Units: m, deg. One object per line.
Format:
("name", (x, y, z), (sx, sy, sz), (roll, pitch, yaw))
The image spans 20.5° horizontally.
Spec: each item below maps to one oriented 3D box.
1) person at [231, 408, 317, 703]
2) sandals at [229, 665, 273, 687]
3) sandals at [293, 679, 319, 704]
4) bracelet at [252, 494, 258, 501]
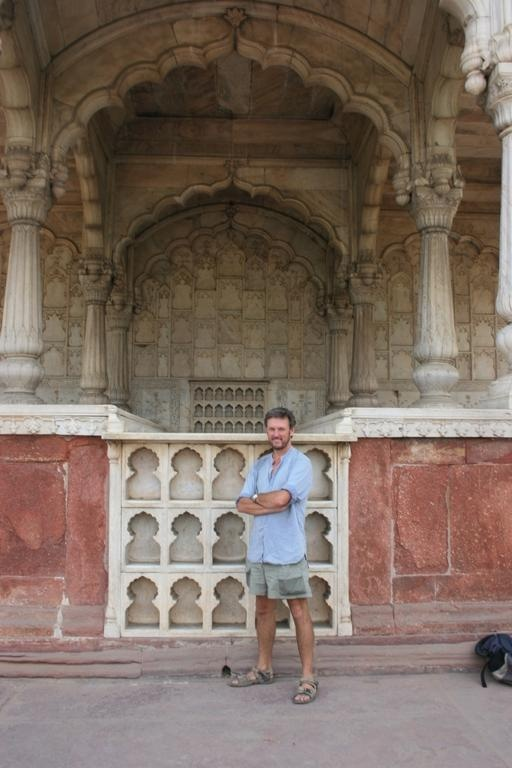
("person", (0.103, 0.937, 7.661), (0.386, 1.560, 0.511), (9, -18, -40))
("sandals", (-0.018, 1.593, 7.707), (0.249, 0.098, 0.092), (2, -8, -7))
("sandals", (0.280, 1.633, 7.524), (0.089, 0.128, 0.233), (-11, -15, 29))
("bracelet", (-0.008, 0.614, 7.672), (0.027, 0.025, 0.045), (-5, 4, 1))
